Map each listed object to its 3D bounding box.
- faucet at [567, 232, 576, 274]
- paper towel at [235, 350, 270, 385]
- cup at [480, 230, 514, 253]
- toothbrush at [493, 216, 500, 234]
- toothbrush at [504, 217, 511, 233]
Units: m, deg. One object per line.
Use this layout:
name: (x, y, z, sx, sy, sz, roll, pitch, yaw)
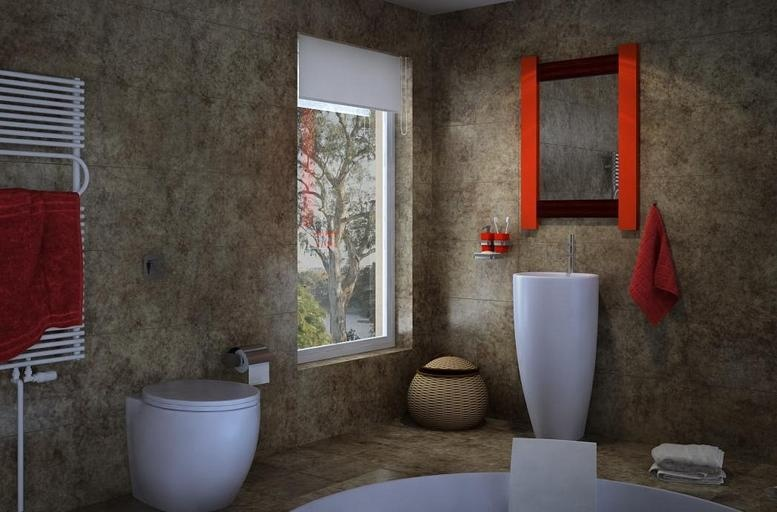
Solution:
faucet: (1.415, -0.024, 4.478, 0.063, 0.305, 0.131, 2, 6, 17)
paper towel: (-0.910, 0.737, 3.845, 0.150, 0.236, 0.249, 4, 2, 41)
cup: (0.856, -0.107, 4.734, 0.160, 0.179, 0.254, 1, 0, 32)
toothbrush: (0.891, -0.262, 4.820, 0.033, 0.136, 0.036, -1, 0, -27)
toothbrush: (0.973, -0.266, 4.774, 0.045, 0.126, 0.015, 2, 6, 21)
